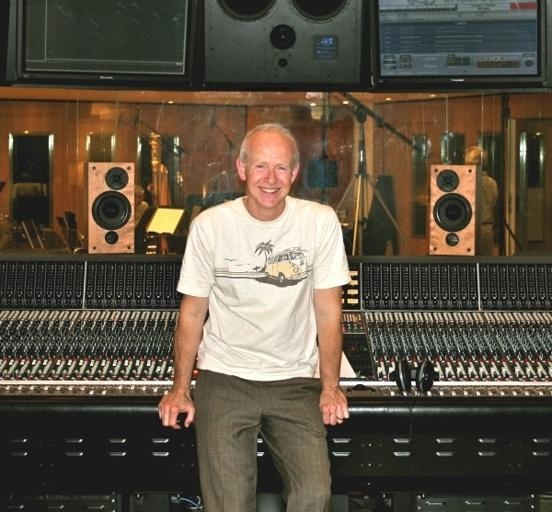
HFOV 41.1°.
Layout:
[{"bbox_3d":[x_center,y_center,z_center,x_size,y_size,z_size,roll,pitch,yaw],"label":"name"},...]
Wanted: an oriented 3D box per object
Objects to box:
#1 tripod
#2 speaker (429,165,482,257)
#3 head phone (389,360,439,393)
[{"bbox_3d":[0.528,-0.227,3.977,0.402,0.554,0.412,-1,8,-3],"label":"tripod"},{"bbox_3d":[0.968,-0.229,3.909,0.311,0.478,0.324,0,-3,4],"label":"speaker"},{"bbox_3d":[0.580,0.495,3.029,0.173,0.136,0.099,2,0,8],"label":"head phone"}]
